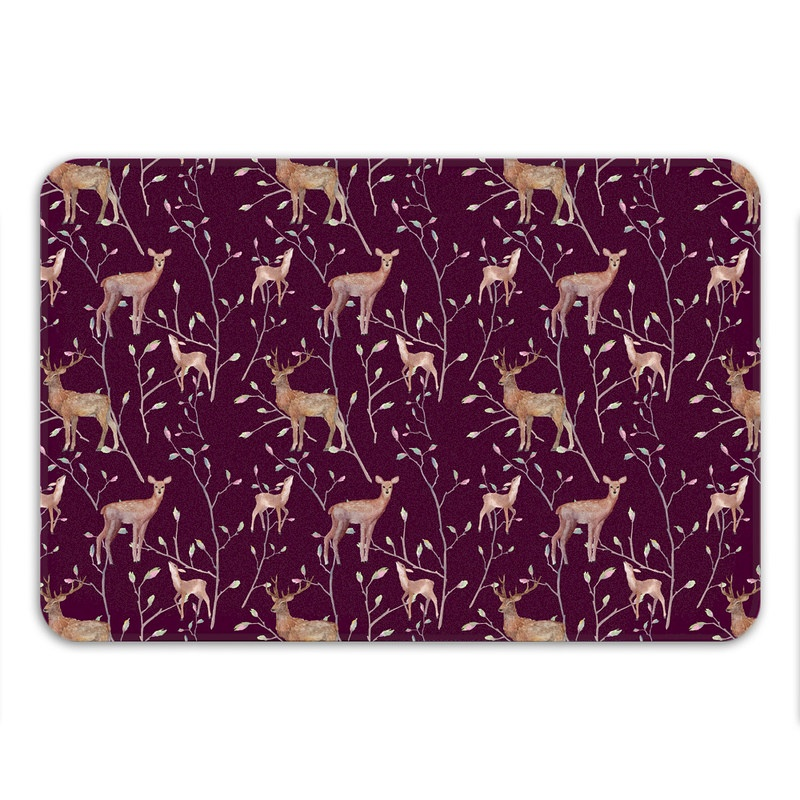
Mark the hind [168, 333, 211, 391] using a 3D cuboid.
[{"bbox_3d":[-0.752,-0.136,5.597,0.159,0.224,0.057,-8,22,-34],"label":"hind"}]
